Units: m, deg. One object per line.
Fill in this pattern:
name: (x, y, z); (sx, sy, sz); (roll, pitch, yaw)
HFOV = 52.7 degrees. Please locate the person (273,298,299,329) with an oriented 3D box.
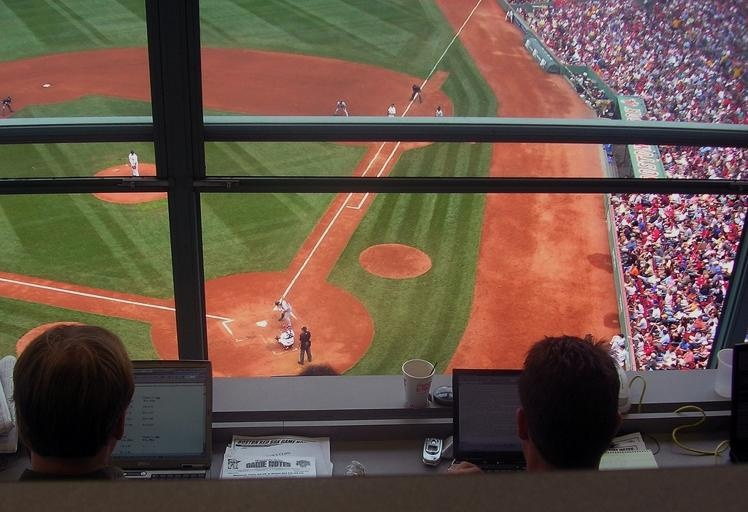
person: (-2.491, 1.658, 21.265); (0.516, 0.792, 0.349); (-35, 47, 4)

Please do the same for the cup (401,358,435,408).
cup: (0.221, 0.670, 3.783); (0.193, 0.153, 0.168); (5, -6, 0)

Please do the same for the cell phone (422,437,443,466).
cell phone: (0.276, 0.931, 3.606); (0.071, 0.044, 0.128); (4, 36, 7)

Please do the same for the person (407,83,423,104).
person: (1.758, -6.929, 32.463); (0.607, 0.409, 0.722); (5, 63, -1)
